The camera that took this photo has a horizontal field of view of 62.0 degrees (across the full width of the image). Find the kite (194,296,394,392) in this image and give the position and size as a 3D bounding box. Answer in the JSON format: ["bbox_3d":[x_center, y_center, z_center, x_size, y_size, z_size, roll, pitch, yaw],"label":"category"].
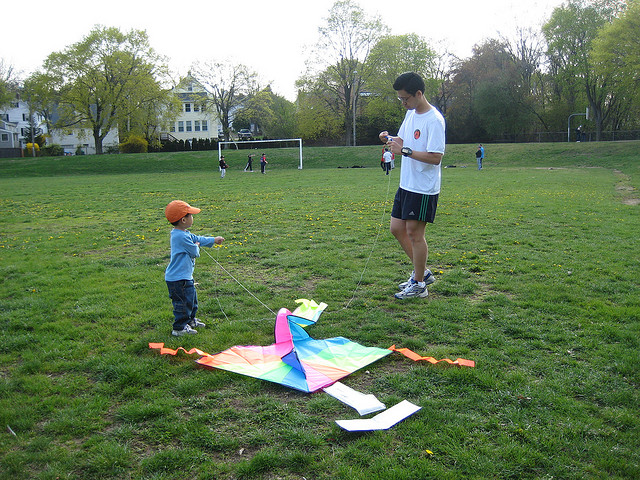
[{"bbox_3d":[-0.257,1.131,5.646,1.539,0.458,1.342,-10,15,-41],"label":"kite"}]

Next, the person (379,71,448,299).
[{"bbox_3d":[1.324,-0.764,7.308,0.710,2.954,1.301,3,11,13],"label":"person"}]

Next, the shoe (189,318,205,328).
[{"bbox_3d":[-1.472,0.992,6.396,0.152,0.070,0.078,-3,15,-19],"label":"shoe"}]

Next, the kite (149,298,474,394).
[{"bbox_3d":[-0.267,1.116,5.778,2.186,0.490,1.403,-5,12,-25],"label":"kite"}]

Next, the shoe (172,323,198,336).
[{"bbox_3d":[-1.573,1.052,6.233,0.288,0.140,0.101,-2,3,-3],"label":"shoe"}]

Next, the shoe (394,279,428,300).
[{"bbox_3d":[1.260,0.695,7.276,0.510,0.326,0.188,0,2,-1],"label":"shoe"}]
